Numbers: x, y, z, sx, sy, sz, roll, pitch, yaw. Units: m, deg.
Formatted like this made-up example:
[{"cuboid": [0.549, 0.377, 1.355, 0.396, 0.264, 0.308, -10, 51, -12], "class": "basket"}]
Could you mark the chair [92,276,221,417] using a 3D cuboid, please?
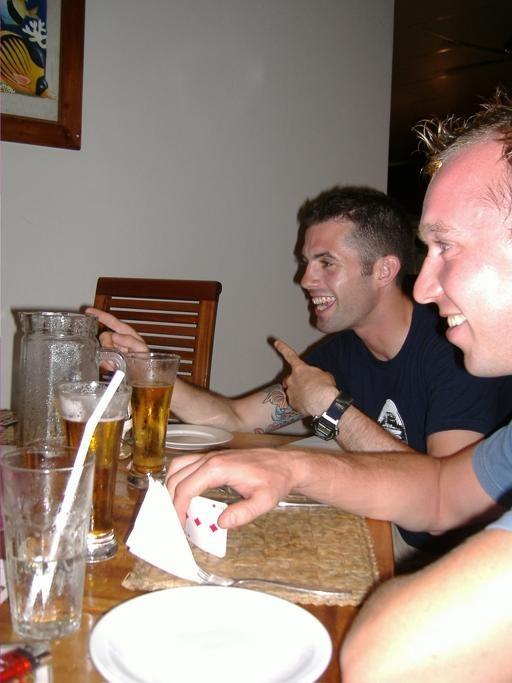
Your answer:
[{"cuboid": [-0.289, -0.025, 1.966, 0.387, 0.598, 0.441, 1, 4, 11], "class": "chair"}]

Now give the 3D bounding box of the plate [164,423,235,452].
[{"cuboid": [-0.118, 0.191, 1.203, 0.101, 0.043, 0.130, -4, 6, -33], "class": "plate"}]

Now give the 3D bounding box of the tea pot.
[{"cuboid": [-0.317, 0.049, 0.914, 0.126, 0.254, 0.125, 2, 4, 0], "class": "tea pot"}]

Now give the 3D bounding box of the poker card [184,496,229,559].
[{"cuboid": [-0.060, 0.224, 0.683, 0.070, 0.067, 0.006, 20, 20, 33], "class": "poker card"}]
